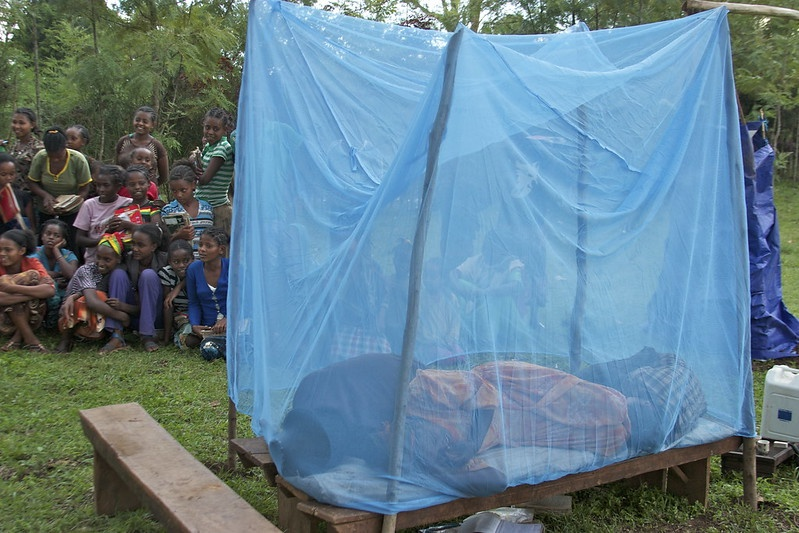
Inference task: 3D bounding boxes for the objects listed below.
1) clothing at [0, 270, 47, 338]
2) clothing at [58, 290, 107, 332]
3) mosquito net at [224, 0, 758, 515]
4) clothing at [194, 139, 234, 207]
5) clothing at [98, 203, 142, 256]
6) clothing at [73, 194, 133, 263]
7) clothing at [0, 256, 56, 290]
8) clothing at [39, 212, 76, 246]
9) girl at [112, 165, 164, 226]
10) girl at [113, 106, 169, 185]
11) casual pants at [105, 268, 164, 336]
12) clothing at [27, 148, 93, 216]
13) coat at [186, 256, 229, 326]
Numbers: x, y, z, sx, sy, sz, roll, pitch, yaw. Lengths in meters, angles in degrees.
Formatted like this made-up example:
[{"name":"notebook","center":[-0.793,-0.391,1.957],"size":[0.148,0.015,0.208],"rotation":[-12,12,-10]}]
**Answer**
[{"name":"clothing","center":[-3.804,0.378,7.495],"size":[0.461,0.631,0.309],"rotation":[6,-1,-36]},{"name":"clothing","center":[-3.254,0.505,7.590],"size":[0.339,0.455,0.225],"rotation":[14,-14,-26]},{"name":"mosquito net","center":[0.464,0.011,6.080],"size":[4.102,3.496,3.226],"rotation":[0,1,-35]},{"name":"clothing","center":[-2.022,-0.995,8.083],"size":[0.417,0.770,0.784],"rotation":[4,21,-19]},{"name":"clothing","center":[-2.922,-0.398,7.875],"size":[0.477,0.472,0.126],"rotation":[5,7,-40]},{"name":"clothing","center":[-3.238,-0.406,8.093],"size":[0.542,0.571,0.193],"rotation":[-1,18,-24]},{"name":"clothing","center":[-3.798,0.100,7.614],"size":[0.346,0.340,0.137],"rotation":[15,-21,-19]},{"name":"clothing","center":[-3.692,-0.347,8.069],"size":[0.243,0.228,0.315],"rotation":[35,31,29]},{"name":"girl","center":[-2.880,-0.632,8.059],"size":[0.518,0.832,0.475],"rotation":[-4,-1,-8]},{"name":"girl","center":[-3.096,-1.302,8.832],"size":[0.631,1.136,0.382],"rotation":[6,9,-1]},{"name":"casual pants","center":[-2.849,0.373,7.981],"size":[0.520,0.683,0.512],"rotation":[2,4,-15]},{"name":"clothing","center":[-3.752,-0.893,8.135],"size":[0.714,0.773,0.411],"rotation":[-1,11,-15]},{"name":"coat","center":[-2.006,0.267,8.012],"size":[0.564,0.696,0.357],"rotation":[-8,7,-14]}]
